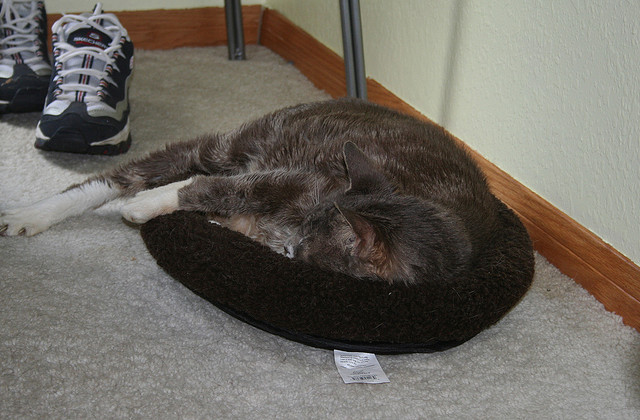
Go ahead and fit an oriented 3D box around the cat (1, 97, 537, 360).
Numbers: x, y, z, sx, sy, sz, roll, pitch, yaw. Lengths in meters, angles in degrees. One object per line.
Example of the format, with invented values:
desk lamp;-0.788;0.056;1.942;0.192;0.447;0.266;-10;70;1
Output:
cat;-0.078;0.056;1.115;0.817;0.190;0.610;-9;38;-31

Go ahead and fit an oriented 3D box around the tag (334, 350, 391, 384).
tag;0.078;0.297;1.106;0.098;0.024;0.062;-1;33;-5
